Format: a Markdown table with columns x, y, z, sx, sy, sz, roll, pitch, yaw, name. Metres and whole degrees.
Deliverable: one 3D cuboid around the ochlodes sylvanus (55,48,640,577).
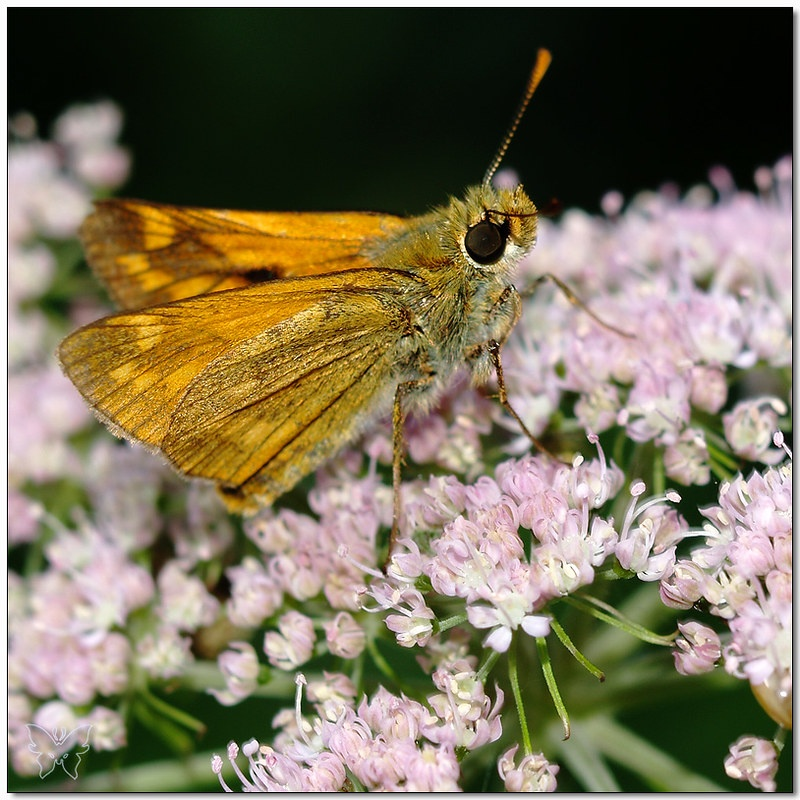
| x | y | z | sx | sy | sz | roll | pitch | yaw | name |
| --- | --- | --- | --- | --- | --- | --- | --- | --- | --- |
| -0.359 | -0.393 | 4.241 | 2.378 | 1.668 | 1.672 | -23 | -65 | 2 | ochlodes sylvanus |
